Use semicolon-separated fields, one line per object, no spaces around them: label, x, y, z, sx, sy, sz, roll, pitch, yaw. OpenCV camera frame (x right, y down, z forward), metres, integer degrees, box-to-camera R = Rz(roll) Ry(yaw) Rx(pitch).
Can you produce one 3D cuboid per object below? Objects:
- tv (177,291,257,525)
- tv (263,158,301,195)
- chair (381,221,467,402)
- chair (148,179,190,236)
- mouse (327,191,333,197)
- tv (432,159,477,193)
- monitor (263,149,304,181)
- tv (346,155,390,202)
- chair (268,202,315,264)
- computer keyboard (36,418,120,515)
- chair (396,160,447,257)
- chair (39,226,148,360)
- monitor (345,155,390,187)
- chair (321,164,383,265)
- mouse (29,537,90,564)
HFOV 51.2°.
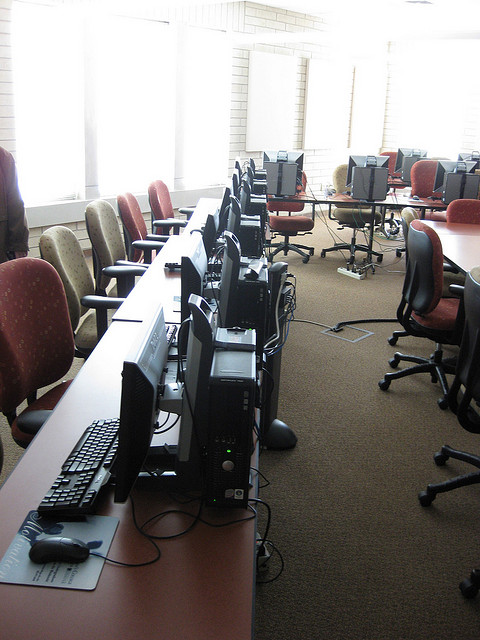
tv;-0.063;0.222;1.097;0.125;0.362;0.353;7;-7;-11
tv;0.510;-1.680;5.803;0.358;0.426;0.147;7;20;11
chair;1.186;-0.078;2.897;0.517;0.931;0.506;5;18;2
chair;-0.580;-0.989;4.339;0.319;0.610;0.359;3;19;3
mouse;1.074;-1.485;5.950;0.050;0.042;0.053;3;9;16
tv;2.452;-1.618;5.739;0.478;0.499;0.198;0;22;4
monitor;0.508;-1.908;6.190;0.433;0.318;0.772;-3;22;-10
tv;1.437;-1.540;5.567;0.420;0.577;0.307;3;13;5
chair;0.609;-1.018;5.991;0.600;0.652;0.804;3;21;7
computer keyboard;-0.327;0.311;1.121;0.117;0.061;0.365;5;15;0
chair;2.361;-1.381;6.442;0.624;1.159;0.645;4;-17;7
chair;-0.695;0.005;2.485;0.523;0.892;0.630;-3;1;-1
monitor;1.443;-1.665;5.676;0.502;0.501;0.194;-1;18;-5
chair;1.444;-1.394;6.388;0.652;1.246;0.704;3;17;19
mouse;-0.299;0.378;0.837;0.094;0.043;0.038;0;21;-2
